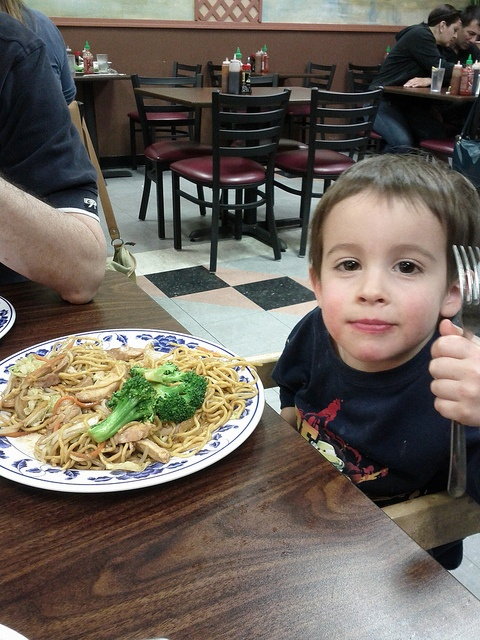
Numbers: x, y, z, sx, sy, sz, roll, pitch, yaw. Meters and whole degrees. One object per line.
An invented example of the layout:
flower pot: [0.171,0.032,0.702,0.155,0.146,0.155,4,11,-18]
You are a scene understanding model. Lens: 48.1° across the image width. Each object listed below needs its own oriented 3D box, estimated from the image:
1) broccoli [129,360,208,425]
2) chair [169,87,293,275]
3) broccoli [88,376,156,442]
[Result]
broccoli: [-0.088,0.079,0.692,0.102,0.038,0.086,24,20,29]
chair: [-0.080,-1.160,4.058,0.798,1.099,1.843,1,25,0]
broccoli: [-0.148,0.105,0.651,0.040,0.052,0.077,18,39,39]
